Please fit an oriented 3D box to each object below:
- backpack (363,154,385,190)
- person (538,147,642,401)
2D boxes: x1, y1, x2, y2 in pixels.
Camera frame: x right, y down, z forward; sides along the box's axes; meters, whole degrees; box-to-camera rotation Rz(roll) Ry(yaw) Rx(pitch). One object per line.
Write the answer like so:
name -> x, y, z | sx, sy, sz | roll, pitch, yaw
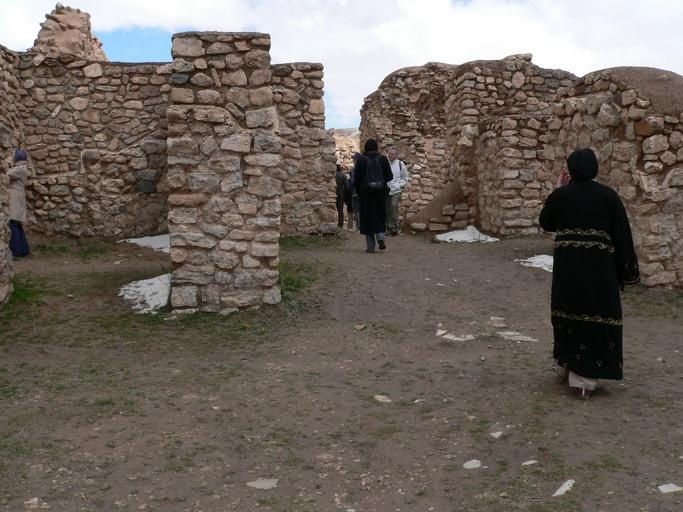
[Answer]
backpack -> 0.443, -1.248, 9.686 | 0.388, 0.463, 0.310 | -9, 19, -29
person -> 1.959, 0.237, 5.051 | 0.722, 1.700, 0.421 | 2, 8, 20
